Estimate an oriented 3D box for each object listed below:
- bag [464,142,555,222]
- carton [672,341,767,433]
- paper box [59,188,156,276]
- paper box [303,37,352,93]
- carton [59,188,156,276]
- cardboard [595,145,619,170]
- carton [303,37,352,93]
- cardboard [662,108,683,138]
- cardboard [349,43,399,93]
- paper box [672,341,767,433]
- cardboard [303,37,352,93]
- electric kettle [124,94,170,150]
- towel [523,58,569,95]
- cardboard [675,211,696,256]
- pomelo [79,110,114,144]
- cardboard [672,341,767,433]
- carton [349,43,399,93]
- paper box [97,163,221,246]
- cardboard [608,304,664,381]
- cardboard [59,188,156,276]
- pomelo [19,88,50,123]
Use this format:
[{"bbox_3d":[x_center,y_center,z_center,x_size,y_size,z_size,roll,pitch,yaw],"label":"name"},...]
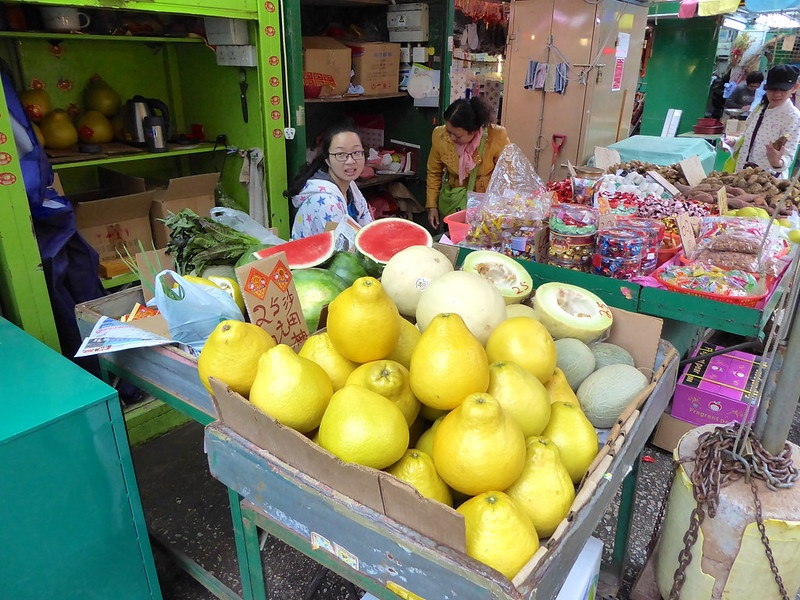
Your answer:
[{"bbox_3d":[0.568,-0.540,2.728,0.346,0.187,0.455,5,64,-2],"label":"bag"},{"bbox_3d":[1.573,0.442,2.567,0.335,0.244,0.481,11,35,33],"label":"carton"},{"bbox_3d":[-1.690,-0.382,3.003,0.411,0.481,0.322,-19,39,-37],"label":"paper box"},{"bbox_3d":[-0.626,-1.933,4.304,0.469,0.444,0.337,-13,29,-25],"label":"paper box"},{"bbox_3d":[-1.757,-0.376,3.388,0.438,0.523,0.354,-11,-8,3],"label":"carton"},{"bbox_3d":[1.544,-1.057,3.859,0.182,0.107,0.577,10,29,17],"label":"cardboard"},{"bbox_3d":[-0.621,-1.926,4.296,0.469,0.438,0.314,-13,29,-25],"label":"carton"},{"bbox_3d":[3.491,-2.278,6.628,0.153,0.316,0.397,14,30,26],"label":"cardboard"},{"bbox_3d":[-0.201,-2.070,4.638,0.450,0.472,0.456,17,25,35],"label":"cardboard"},{"bbox_3d":[1.573,0.442,2.567,0.335,0.244,0.481,11,35,33],"label":"paper box"},{"bbox_3d":[-0.621,-1.926,4.296,0.469,0.438,0.314,-13,29,-25],"label":"cardboard"},{"bbox_3d":[-1.664,-1.198,3.465,0.285,0.298,0.415,-23,35,-39],"label":"electric kettle"},{"bbox_3d":[1.548,-2.343,5.450,0.356,0.392,0.136,13,14,20],"label":"towel"},{"bbox_3d":[1.455,-0.331,2.642,0.015,0.232,0.162,-3,21,46],"label":"cardboard"},{"bbox_3d":[-2.014,-1.141,3.419,0.171,0.214,0.164,-19,2,-15],"label":"pomelo"},{"bbox_3d":[1.573,0.442,2.567,0.335,0.244,0.481,11,35,33],"label":"cardboard"},{"bbox_3d":[-0.195,-2.062,4.689,0.450,0.472,0.456,17,25,35],"label":"carton"},{"bbox_3d":[-1.646,-0.682,3.657,0.688,0.641,0.851,11,21,34],"label":"paper box"},{"bbox_3d":[0.745,0.120,1.619,0.176,0.202,0.045,16,16,40],"label":"cardboard"},{"bbox_3d":[-1.885,-0.428,3.327,0.339,0.531,0.464,12,22,24],"label":"cardboard"},{"bbox_3d":[-2.232,-1.177,3.218,0.174,0.199,0.184,-16,9,-42],"label":"pomelo"}]
